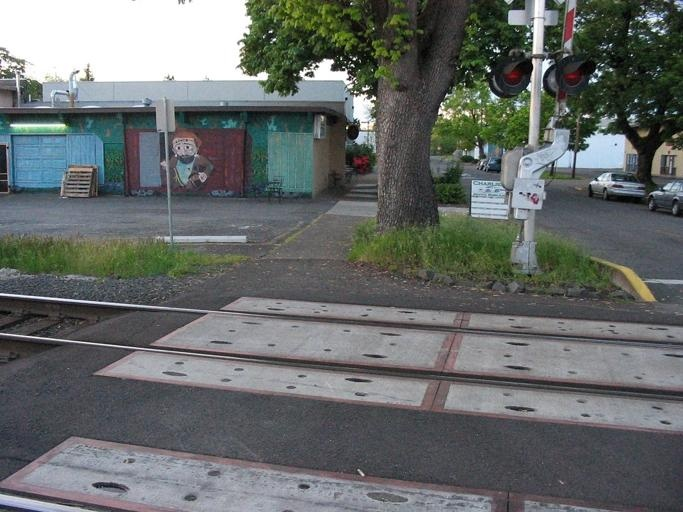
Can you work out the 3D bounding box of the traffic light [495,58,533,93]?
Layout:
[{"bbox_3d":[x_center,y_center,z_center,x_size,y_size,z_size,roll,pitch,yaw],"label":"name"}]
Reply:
[{"bbox_3d":[2.948,-3.052,10.512,0.703,0.583,0.261,-6,15,-25],"label":"traffic light"}]

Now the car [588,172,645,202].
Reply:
[{"bbox_3d":[15.676,-3.960,35.109,2.432,1.579,5.131,2,14,7],"label":"car"}]

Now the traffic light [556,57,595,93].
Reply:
[{"bbox_3d":[3.832,-2.963,10.168,0.590,0.626,0.327,5,14,19],"label":"traffic light"}]
